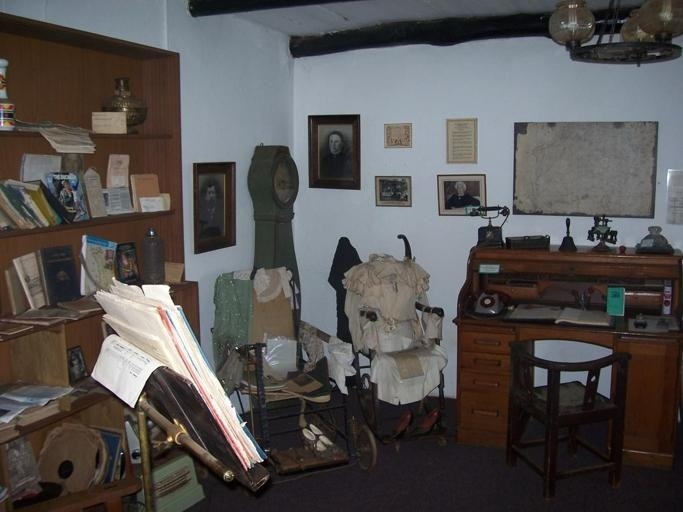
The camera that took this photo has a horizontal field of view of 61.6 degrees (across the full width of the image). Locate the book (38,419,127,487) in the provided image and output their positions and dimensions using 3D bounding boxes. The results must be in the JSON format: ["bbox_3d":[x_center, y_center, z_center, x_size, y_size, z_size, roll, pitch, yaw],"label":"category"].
[{"bbox_3d":[-1.791,1.358,3.869,0.453,0.493,0.117,11,-12,-24],"label":"book"}]

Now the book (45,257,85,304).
[{"bbox_3d":[-1.890,0.171,3.886,0.087,0.271,0.278,-3,3,18],"label":"book"}]

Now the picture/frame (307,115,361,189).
[{"bbox_3d":[-0.057,-1.069,5.785,0.661,0.957,0.065,2,7,15],"label":"picture/frame"}]

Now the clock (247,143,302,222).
[{"bbox_3d":[-0.653,-0.688,5.366,0.298,1.006,0.747,0,4,19],"label":"clock"}]

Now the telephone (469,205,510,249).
[{"bbox_3d":[1.394,-0.273,5.324,0.376,0.352,0.363,-1,13,8],"label":"telephone"}]

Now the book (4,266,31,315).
[{"bbox_3d":[-2.093,0.218,3.681,0.108,0.292,0.096,10,17,43],"label":"book"}]

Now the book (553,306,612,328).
[{"bbox_3d":[2.008,0.505,4.748,0.441,0.073,0.313,2,14,18],"label":"book"}]

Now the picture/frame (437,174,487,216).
[{"bbox_3d":[1.176,-0.594,5.494,0.363,0.355,0.028,1,7,11],"label":"picture/frame"}]

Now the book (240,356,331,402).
[{"bbox_3d":[-0.412,1.053,4.666,0.530,0.246,0.375,7,1,-8],"label":"book"}]

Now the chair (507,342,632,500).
[{"bbox_3d":[1.741,1.194,4.432,0.762,1.056,0.598,-7,13,-18],"label":"chair"}]

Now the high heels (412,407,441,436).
[{"bbox_3d":[0.732,1.421,4.877,0.174,0.231,0.280,2,14,20],"label":"high heels"}]

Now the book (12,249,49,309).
[{"bbox_3d":[-2.020,0.161,3.733,0.065,0.300,0.285,-8,13,1],"label":"book"}]

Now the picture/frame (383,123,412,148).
[{"bbox_3d":[0.563,-1.181,5.615,0.229,0.218,0.027,1,1,13],"label":"picture/frame"}]

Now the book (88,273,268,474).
[{"bbox_3d":[-0.642,0.423,2.226,0.733,0.670,0.246,8,16,38],"label":"book"}]

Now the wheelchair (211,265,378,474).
[{"bbox_3d":[-0.484,0.933,4.725,0.964,1.583,1.545,-6,8,-28],"label":"wheelchair"}]

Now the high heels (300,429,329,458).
[{"bbox_3d":[-0.221,1.513,4.679,0.211,0.073,0.123,32,25,29],"label":"high heels"}]

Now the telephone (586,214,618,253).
[{"bbox_3d":[2.341,-0.196,5.116,0.265,0.347,0.263,5,-11,7],"label":"telephone"}]

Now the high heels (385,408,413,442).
[{"bbox_3d":[0.489,1.444,4.809,0.201,0.331,0.212,-1,13,6],"label":"high heels"}]

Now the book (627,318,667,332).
[{"bbox_3d":[2.478,0.565,4.614,0.151,0.038,0.146,3,16,18],"label":"book"}]

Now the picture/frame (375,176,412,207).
[{"bbox_3d":[0.532,-0.647,5.689,0.275,0.257,0.028,2,12,15],"label":"picture/frame"}]

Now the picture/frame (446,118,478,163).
[{"bbox_3d":[1.157,-1.103,5.437,0.380,0.578,0.050,1,5,19],"label":"picture/frame"}]

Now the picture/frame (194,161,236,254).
[{"bbox_3d":[-1.103,-0.428,4.903,0.075,0.811,0.671,7,11,24],"label":"picture/frame"}]

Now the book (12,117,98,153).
[{"bbox_3d":[-1.873,-0.762,3.707,0.160,0.215,0.538,6,16,32],"label":"book"}]

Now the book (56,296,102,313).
[{"bbox_3d":[-1.740,0.332,3.825,0.183,0.047,0.179,-5,14,-36],"label":"book"}]
